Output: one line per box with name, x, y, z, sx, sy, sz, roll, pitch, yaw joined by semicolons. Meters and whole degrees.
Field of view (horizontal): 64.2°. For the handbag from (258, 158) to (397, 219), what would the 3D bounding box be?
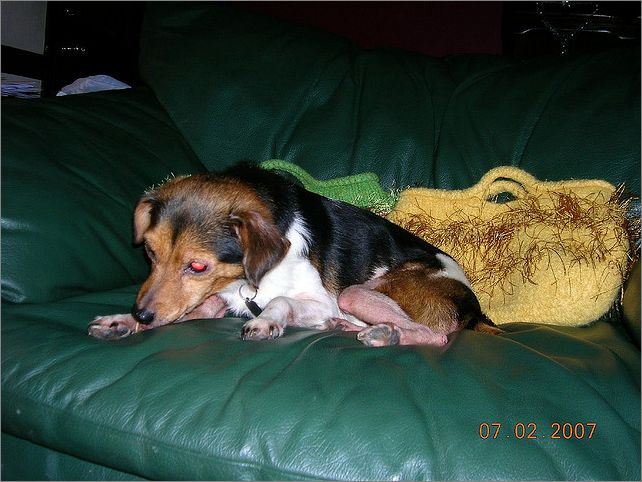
handbag;-0.005;-0.306;3.101;0.983;0.189;0.298;10;10;1
